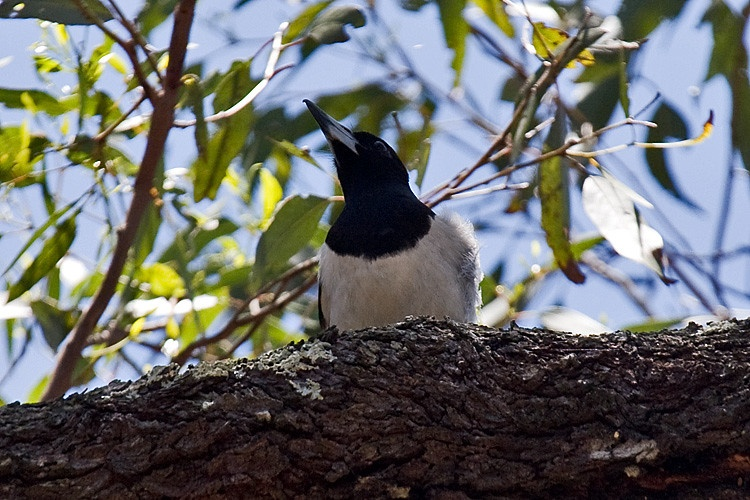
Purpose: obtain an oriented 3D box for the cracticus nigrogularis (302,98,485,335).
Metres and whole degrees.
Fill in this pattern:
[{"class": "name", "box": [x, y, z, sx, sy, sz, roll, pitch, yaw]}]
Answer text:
[{"class": "cracticus nigrogularis", "box": [0.073, -0.218, 6.656, 0.962, 1.767, 1.599, 1, -91, 2]}]
